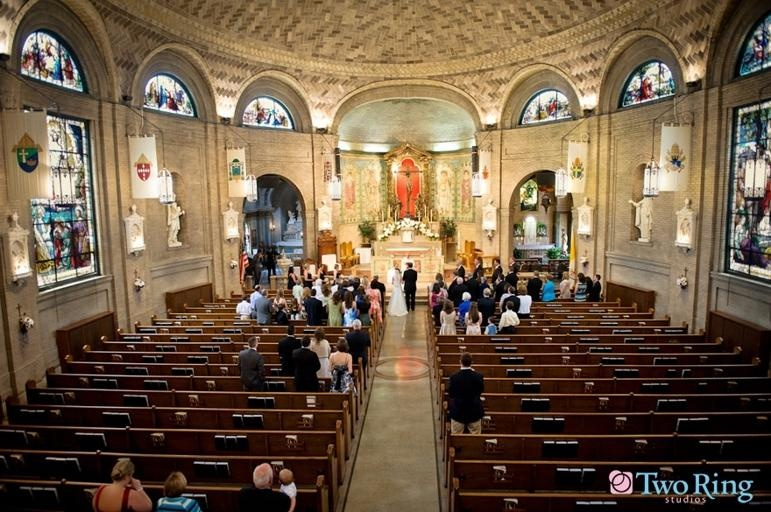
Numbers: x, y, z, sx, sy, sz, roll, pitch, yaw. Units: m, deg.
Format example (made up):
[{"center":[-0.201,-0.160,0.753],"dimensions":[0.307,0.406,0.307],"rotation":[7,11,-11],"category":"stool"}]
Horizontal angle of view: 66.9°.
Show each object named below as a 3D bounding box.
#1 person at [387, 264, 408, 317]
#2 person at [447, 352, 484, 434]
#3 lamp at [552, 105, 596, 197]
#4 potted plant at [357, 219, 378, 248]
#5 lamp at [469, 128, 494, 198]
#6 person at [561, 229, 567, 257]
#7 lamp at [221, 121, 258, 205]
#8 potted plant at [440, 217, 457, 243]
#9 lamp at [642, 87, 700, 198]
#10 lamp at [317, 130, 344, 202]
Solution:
[{"center":[0.464,1.392,23.053],"dimensions":[0.716,2.026,1.555],"rotation":[0,4,4],"category":"person"},{"center":[1.794,3.261,13.133],"dimensions":[0.787,2.342,0.752],"rotation":[-2,15,0],"category":"person"},{"center":[7.801,-4.231,24.273],"dimensions":[1.378,3.432,2.800],"rotation":[1,5,18],"category":"lamp"},{"center":[-1.028,-1.306,33.556],"dimensions":[1.263,1.783,1.362],"rotation":[3,-1,-2],"category":"potted plant"},{"center":[4.521,-4.365,27.559],"dimensions":[0.875,3.028,1.173],"rotation":[1,4,13],"category":"lamp"},{"center":[10.234,-0.831,33.442],"dimensions":[0.336,1.277,1.366],"rotation":[1,5,17],"category":"person"},{"center":[-6.176,-3.926,24.436],"dimensions":[1.121,3.077,1.518],"rotation":[-2,5,-22],"category":"lamp"},{"center":[3.451,-1.450,32.906],"dimensions":[1.143,1.547,0.983],"rotation":[0,2,-4],"category":"potted plant"},{"center":[9.801,-3.880,20.072],"dimensions":[1.351,3.250,2.200],"rotation":[2,5,25],"category":"lamp"},{"center":[-2.738,-4.429,28.412],"dimensions":[1.022,3.380,2.745],"rotation":[-1,4,-7],"category":"lamp"}]
